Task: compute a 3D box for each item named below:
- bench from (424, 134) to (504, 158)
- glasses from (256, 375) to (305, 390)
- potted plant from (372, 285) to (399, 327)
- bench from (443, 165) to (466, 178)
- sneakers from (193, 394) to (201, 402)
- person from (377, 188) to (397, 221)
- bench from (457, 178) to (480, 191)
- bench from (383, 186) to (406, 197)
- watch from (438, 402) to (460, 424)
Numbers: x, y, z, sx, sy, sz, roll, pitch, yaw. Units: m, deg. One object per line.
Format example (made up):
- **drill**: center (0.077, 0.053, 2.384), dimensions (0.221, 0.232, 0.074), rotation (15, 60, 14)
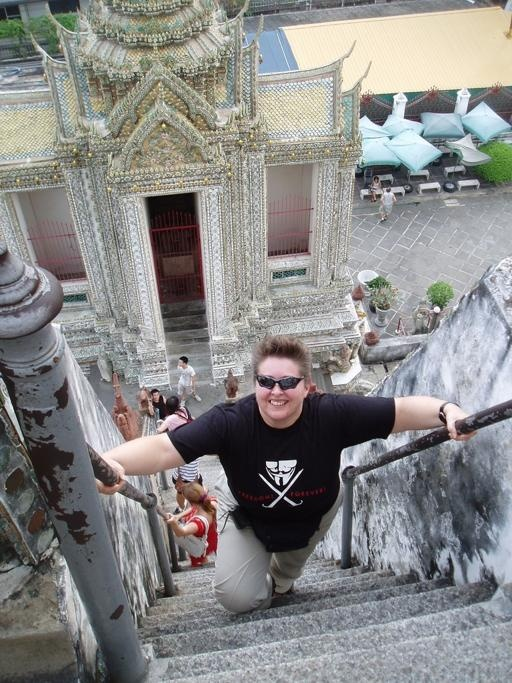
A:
- **bench**: center (9.309, -8.430, 17.352), dimensions (4.480, 0.653, 1.529), rotation (-17, 29, -20)
- **glasses**: center (0.121, 0.187, 1.950), dimensions (0.207, 0.065, 0.073), rotation (-5, 28, 2)
- **potted plant**: center (3.926, -1.092, 12.587), dimensions (0.632, 1.099, 0.689), rotation (-9, 47, -4)
- **bench**: center (7.946, -6.837, 16.678), dimensions (0.774, 0.372, 0.579), rotation (-2, 68, 6)
- **sneakers**: center (-1.279, 1.247, 9.383), dimensions (0.079, 0.089, 0.220), rotation (-46, 54, 10)
- **person**: center (4.830, -5.068, 15.247), dimensions (0.521, 1.104, 0.988), rotation (2, 29, 17)
- **bench**: center (8.318, -6.175, 16.266), dimensions (1.057, 0.365, 0.393), rotation (-9, 28, -6)
- **bench**: center (5.418, -5.745, 15.912), dimensions (0.862, 0.446, 0.384), rotation (1, -11, 4)
- **watch**: center (0.855, 0.305, 1.824), dimensions (0.079, 0.101, 0.050), rotation (0, 2, -2)
